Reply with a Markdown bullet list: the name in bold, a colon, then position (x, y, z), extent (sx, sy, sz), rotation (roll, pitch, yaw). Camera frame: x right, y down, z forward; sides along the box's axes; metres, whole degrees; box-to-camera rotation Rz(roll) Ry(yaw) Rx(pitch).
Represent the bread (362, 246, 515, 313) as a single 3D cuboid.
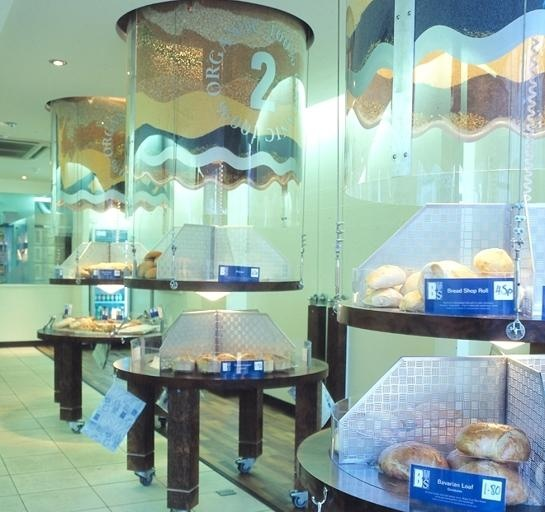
- **bread**: position (0.526, 0.076, 1.923), extent (0.491, 0.200, 0.351), rotation (0, -1, 23)
